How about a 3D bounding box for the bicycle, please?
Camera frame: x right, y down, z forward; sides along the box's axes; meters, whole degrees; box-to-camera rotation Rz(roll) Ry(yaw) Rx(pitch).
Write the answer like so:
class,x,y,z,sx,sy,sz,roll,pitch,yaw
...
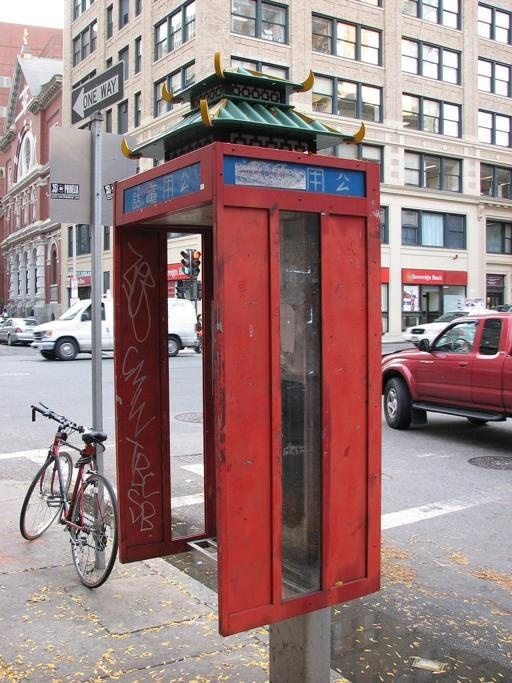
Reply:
class,x,y,z,sx,sy,sz,roll,pitch,yaw
bicycle,-1.207,0.943,4.738,0.527,0.989,1.722,-1,1,-21
